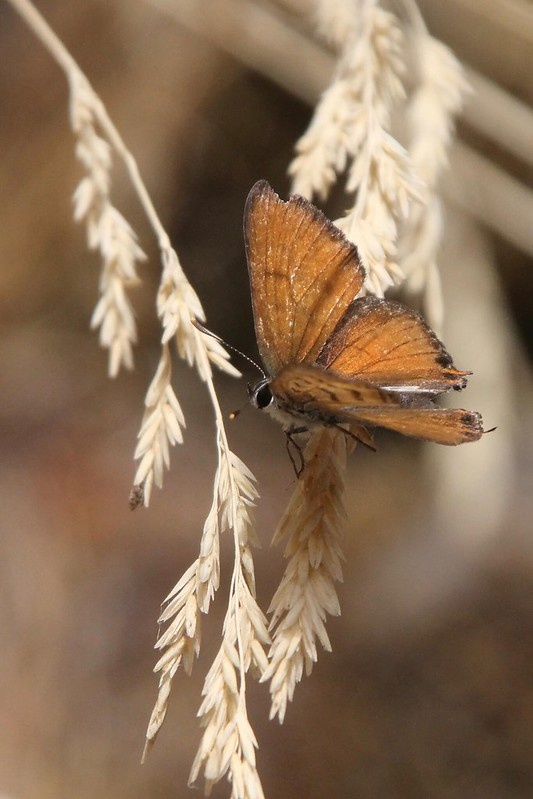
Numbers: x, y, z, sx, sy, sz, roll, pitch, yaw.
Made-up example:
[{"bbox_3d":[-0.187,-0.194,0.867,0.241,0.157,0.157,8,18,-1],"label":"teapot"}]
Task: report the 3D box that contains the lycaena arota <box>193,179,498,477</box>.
[{"bbox_3d":[0.083,-0.047,1.186,0.418,0.205,0.370,6,42,-19],"label":"lycaena arota"}]
